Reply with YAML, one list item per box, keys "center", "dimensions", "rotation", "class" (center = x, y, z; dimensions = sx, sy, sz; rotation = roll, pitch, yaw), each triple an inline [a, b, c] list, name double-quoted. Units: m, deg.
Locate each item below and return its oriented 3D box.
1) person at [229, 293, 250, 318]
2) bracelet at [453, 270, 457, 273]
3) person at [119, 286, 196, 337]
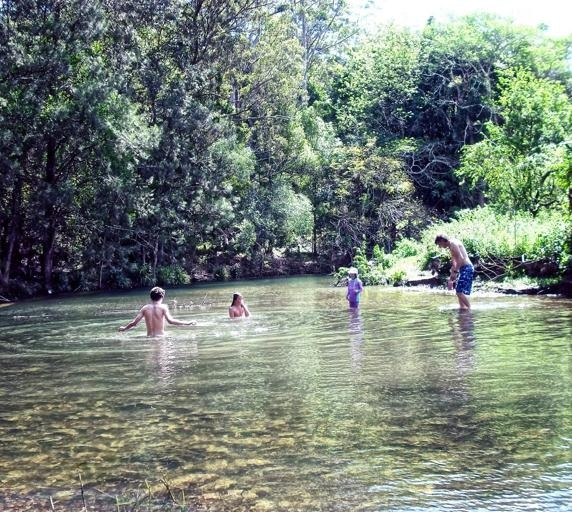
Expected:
- center: [-1.312, 1.389, 16.770]
  dimensions: [0.579, 0.688, 1.002]
  rotation: [-3, -3, -5]
  class: "person"
- center: [4.596, 0.433, 16.347]
  dimensions: [0.157, 0.064, 0.049]
  rotation: [0, -4, -38]
  class: "bracelet"
- center: [-3.022, 1.569, 13.806]
  dimensions: [1.857, 1.614, 0.415]
  rotation: [0, 1, 6]
  class: "person"
